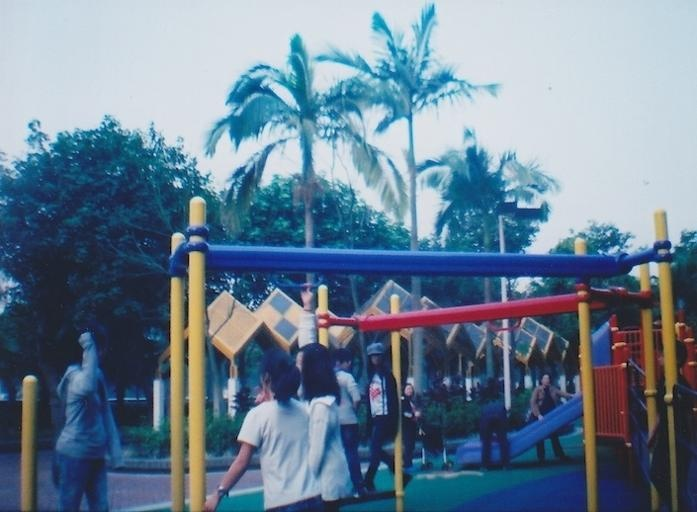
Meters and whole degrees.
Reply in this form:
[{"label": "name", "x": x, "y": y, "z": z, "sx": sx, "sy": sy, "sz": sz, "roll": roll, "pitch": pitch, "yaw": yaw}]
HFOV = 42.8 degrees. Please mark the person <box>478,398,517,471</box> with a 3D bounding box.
[{"label": "person", "x": 3.838, "y": 4.706, "z": 23.364, "sx": 0.755, "sy": 1.771, "sz": 2.028, "roll": -4, "pitch": -15, "yaw": 9}]
